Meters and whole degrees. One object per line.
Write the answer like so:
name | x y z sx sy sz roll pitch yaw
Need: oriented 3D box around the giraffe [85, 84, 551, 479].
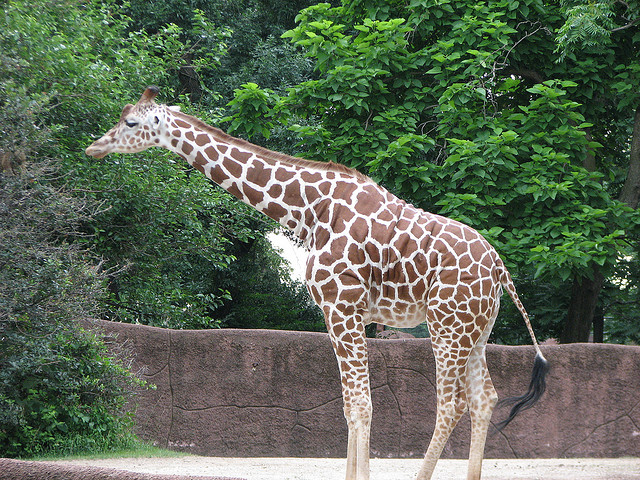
giraffe | -0.234 0.411 13.694 4.859 4.093 1.862 10 19 25
